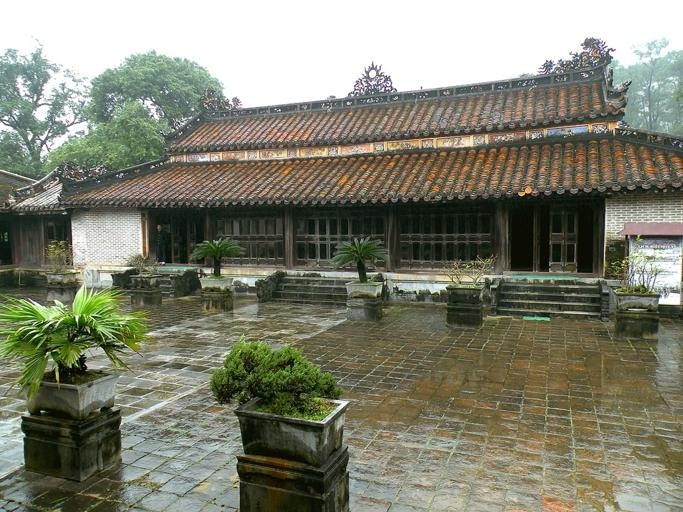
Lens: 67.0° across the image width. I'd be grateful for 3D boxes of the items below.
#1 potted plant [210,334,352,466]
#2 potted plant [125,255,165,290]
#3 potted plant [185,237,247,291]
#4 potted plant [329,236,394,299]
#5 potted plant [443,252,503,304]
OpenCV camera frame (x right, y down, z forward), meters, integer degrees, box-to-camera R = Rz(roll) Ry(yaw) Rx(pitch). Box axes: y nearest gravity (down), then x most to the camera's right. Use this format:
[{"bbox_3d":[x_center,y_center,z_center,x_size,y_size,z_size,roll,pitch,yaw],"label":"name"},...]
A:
[{"bbox_3d":[-0.492,1.429,4.977,1.317,0.840,1.201,-3,-7,41],"label":"potted plant"},{"bbox_3d":[-5.803,0.503,15.128,1.071,0.969,0.628,4,14,17],"label":"potted plant"},{"bbox_3d":[-3.241,0.008,13.388,1.184,0.677,1.112,2,3,45],"label":"potted plant"},{"bbox_3d":[0.397,0.265,11.812,1.126,1.403,0.624,4,11,30],"label":"potted plant"},{"bbox_3d":[2.974,0.511,12.699,1.392,0.847,0.805,-2,13,6],"label":"potted plant"}]
